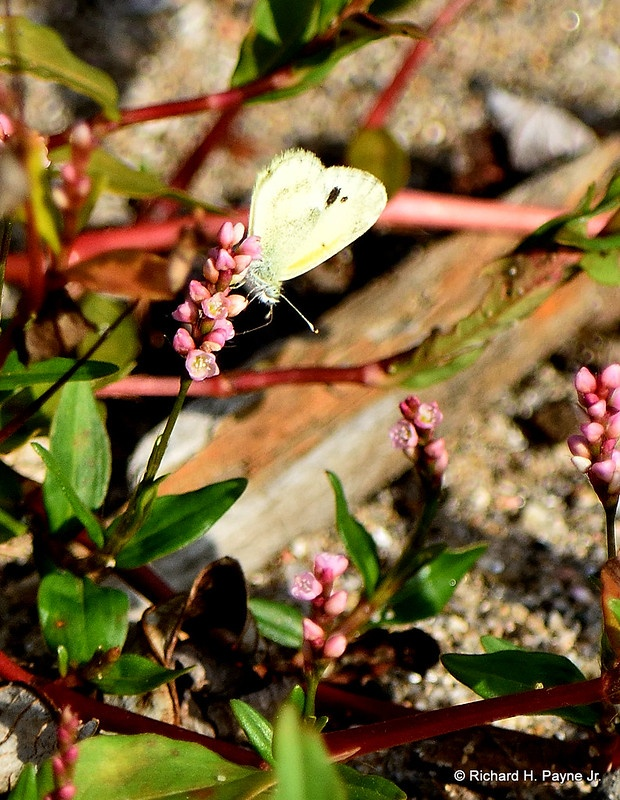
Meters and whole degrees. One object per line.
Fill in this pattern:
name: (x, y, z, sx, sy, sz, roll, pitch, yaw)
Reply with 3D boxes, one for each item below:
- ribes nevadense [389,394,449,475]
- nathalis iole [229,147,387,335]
ribes nevadense: (0.115, 0.053, 1.029, 0.051, 0.160, 0.079, -8, 74, 5)
nathalis iole: (0.005, -0.239, 1.251, 0.104, 0.306, 0.226, 31, 80, 14)
